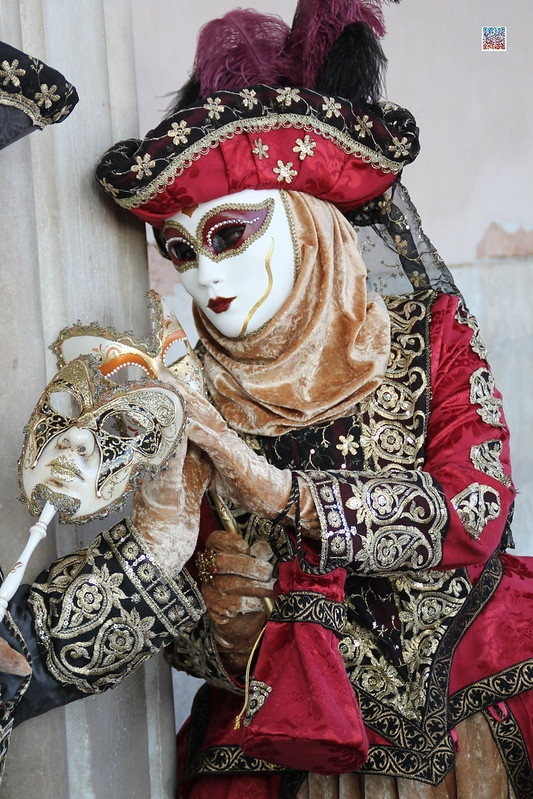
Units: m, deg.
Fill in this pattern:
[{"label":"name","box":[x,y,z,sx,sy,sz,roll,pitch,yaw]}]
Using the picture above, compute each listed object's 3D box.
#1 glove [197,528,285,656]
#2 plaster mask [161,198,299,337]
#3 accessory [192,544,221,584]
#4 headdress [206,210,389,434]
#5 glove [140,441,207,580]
[{"label":"glove","box":[-0.043,0.292,1.639,0.106,0.201,0.123,0,16,0]},{"label":"plaster mask","box":[-0.048,-0.207,1.715,0.224,0.201,0.098,-20,-8,24]},{"label":"accessory","box":[-0.092,0.238,1.614,0.043,0.045,0.026,-6,-13,42]},{"label":"headdress","box":[0.055,-0.090,1.834,0.330,0.339,0.170,-6,-23,7]},{"label":"glove","box":[-0.112,0.133,1.433,0.087,0.184,0.062,17,-22,-23]}]
